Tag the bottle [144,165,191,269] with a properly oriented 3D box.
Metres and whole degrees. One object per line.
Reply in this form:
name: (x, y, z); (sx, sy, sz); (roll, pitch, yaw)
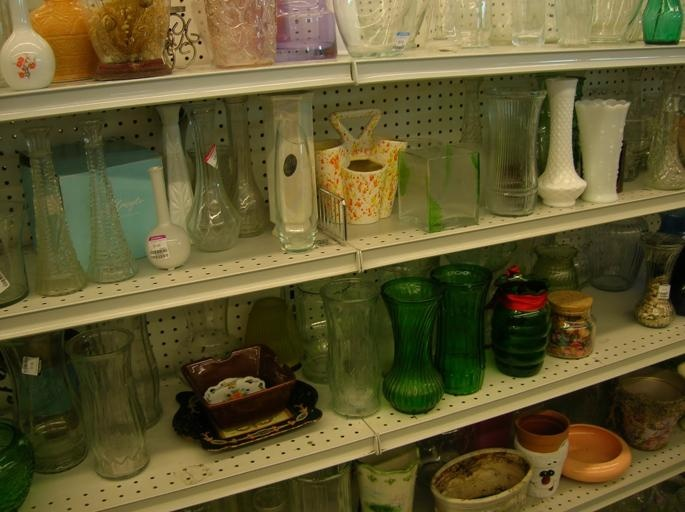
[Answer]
bottle: (-0.485, -0.108, 1.587); (0.115, 0.274, 0.112); (-4, 21, 2)
